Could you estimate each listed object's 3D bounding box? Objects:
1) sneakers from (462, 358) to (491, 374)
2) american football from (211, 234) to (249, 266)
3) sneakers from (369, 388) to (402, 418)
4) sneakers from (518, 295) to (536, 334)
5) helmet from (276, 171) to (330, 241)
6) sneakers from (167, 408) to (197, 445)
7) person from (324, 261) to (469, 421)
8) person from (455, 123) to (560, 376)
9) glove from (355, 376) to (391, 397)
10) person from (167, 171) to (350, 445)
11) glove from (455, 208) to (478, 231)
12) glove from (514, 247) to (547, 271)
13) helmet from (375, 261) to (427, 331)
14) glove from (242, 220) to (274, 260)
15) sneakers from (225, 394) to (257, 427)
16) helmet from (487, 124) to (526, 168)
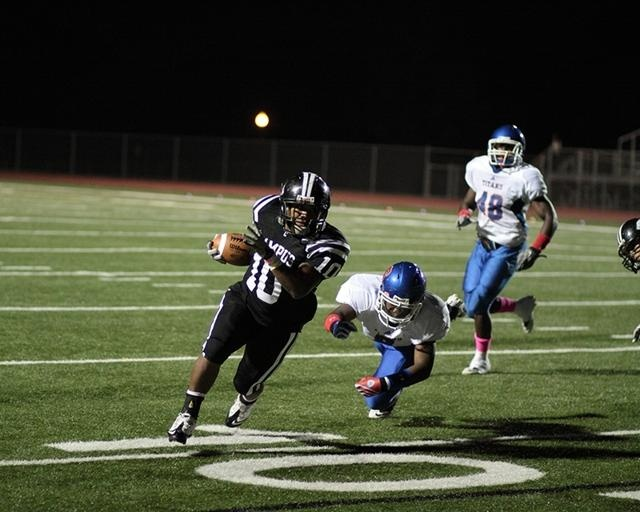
[{"bbox_3d":[1.154,0.819,6.323,0.255,0.146,0.082,0,13,-5],"label":"sneakers"},{"bbox_3d":[-0.501,-0.034,4.697,0.244,0.137,0.164,11,-5,16],"label":"american football"},{"bbox_3d":[0.391,0.940,5.213,0.094,0.269,0.115,36,-10,9],"label":"sneakers"},{"bbox_3d":[1.680,0.457,6.842,0.145,0.359,0.179,-2,0,-7],"label":"sneakers"},{"bbox_3d":[-0.083,-0.293,4.742,0.313,0.288,0.350,6,9,-17],"label":"helmet"},{"bbox_3d":[-0.757,0.922,4.539,0.110,0.120,0.285,5,-7,19],"label":"sneakers"},{"bbox_3d":[0.431,0.415,4.971,0.587,0.685,1.222,9,8,17],"label":"person"},{"bbox_3d":[1.400,-0.073,6.516,0.738,1.838,0.805,4,8,-1],"label":"person"},{"bbox_3d":[0.283,0.717,4.709,0.175,0.092,0.070,-4,-22,-4],"label":"glove"},{"bbox_3d":[-0.327,0.282,4.736,0.927,1.498,0.596,3,8,-7],"label":"person"},{"bbox_3d":[1.117,-0.269,6.617,0.137,0.080,0.205,12,28,5],"label":"glove"},{"bbox_3d":[1.560,0.020,6.431,0.170,0.080,0.219,20,-40,-42],"label":"glove"},{"bbox_3d":[0.477,0.206,4.922,0.307,0.333,0.389,7,22,2],"label":"helmet"},{"bbox_3d":[-0.363,-0.078,4.468,0.131,0.199,0.056,-42,-4,-38],"label":"glove"},{"bbox_3d":[-0.433,0.861,4.936,0.113,0.109,0.293,21,31,15],"label":"sneakers"},{"bbox_3d":[1.399,-0.822,6.599,0.252,0.256,0.323,6,-8,13],"label":"helmet"}]
